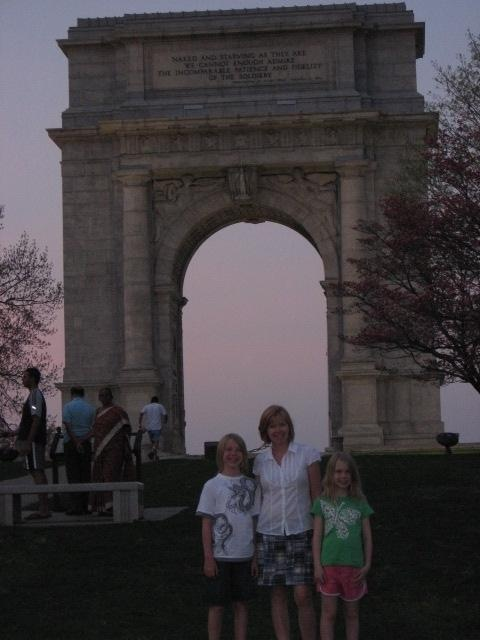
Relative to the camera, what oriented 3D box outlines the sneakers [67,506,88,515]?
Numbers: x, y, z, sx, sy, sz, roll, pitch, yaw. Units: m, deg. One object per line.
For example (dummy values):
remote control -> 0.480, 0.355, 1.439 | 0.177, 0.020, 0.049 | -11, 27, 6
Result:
sneakers -> -2.297, 2.700, 18.747 | 0.348, 0.145, 0.117 | 2, -14, 9
